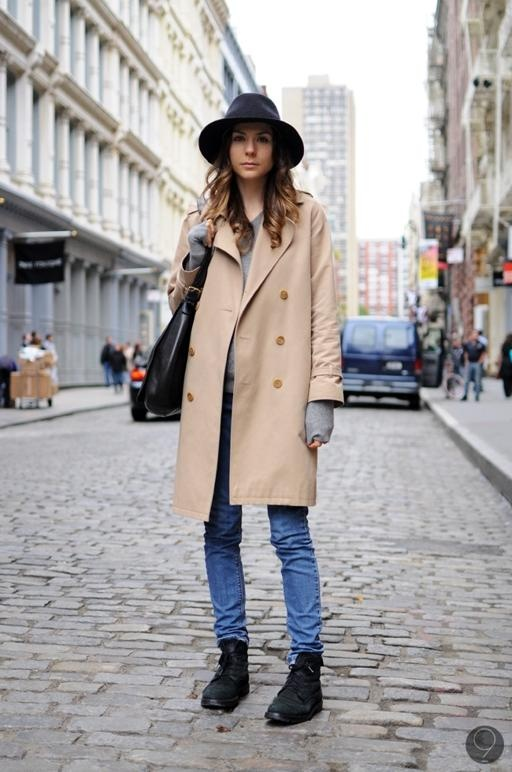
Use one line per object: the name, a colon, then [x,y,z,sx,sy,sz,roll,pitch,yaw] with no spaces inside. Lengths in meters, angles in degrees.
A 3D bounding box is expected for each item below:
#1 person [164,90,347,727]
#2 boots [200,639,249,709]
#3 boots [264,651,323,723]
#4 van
person: [-0.019,0.014,3.278,0.593,1.882,0.573,1,3,21]
boots: [-0.087,0.868,3.237,0.114,0.164,0.274,0,3,8]
boots: [0.118,0.879,3.109,0.127,0.153,0.262,1,3,16]
van: [2.688,-0.550,22.250,1.824,1.481,3.064,0,4,9]
